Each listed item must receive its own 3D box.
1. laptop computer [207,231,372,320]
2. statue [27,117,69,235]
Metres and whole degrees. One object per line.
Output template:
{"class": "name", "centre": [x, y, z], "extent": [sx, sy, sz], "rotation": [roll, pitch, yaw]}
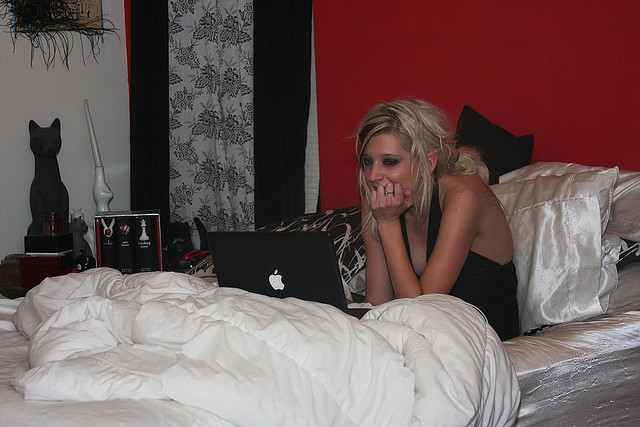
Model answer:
{"class": "laptop computer", "centre": [-0.101, 0.224, 2.089], "extent": [0.579, 0.360, 0.450], "rotation": [-4, 8, 17]}
{"class": "statue", "centre": [-1.645, -0.202, 3.202], "extent": [0.203, 0.685, 0.187], "rotation": [-1, 0, -25]}
